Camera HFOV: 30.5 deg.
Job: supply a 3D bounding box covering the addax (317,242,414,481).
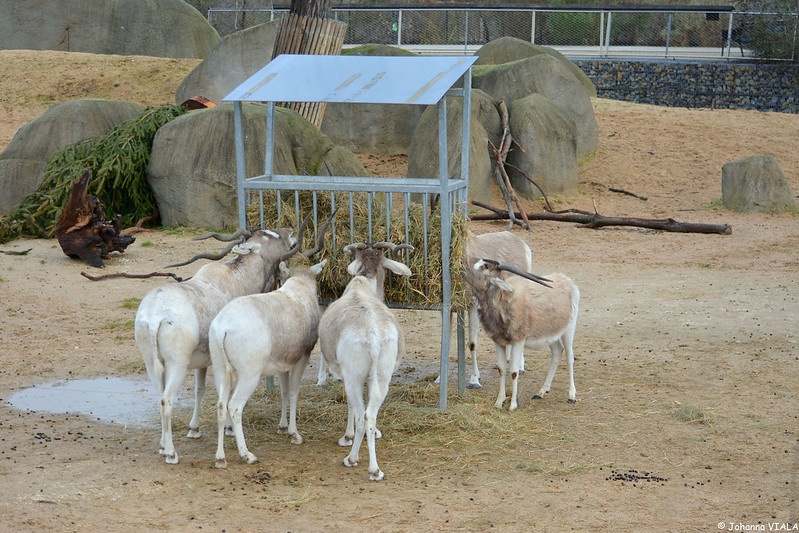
[{"bbox_3d":[-0.609,1.517,24.202,1.335,3.670,1.646,3,9,9],"label":"addax"}]
